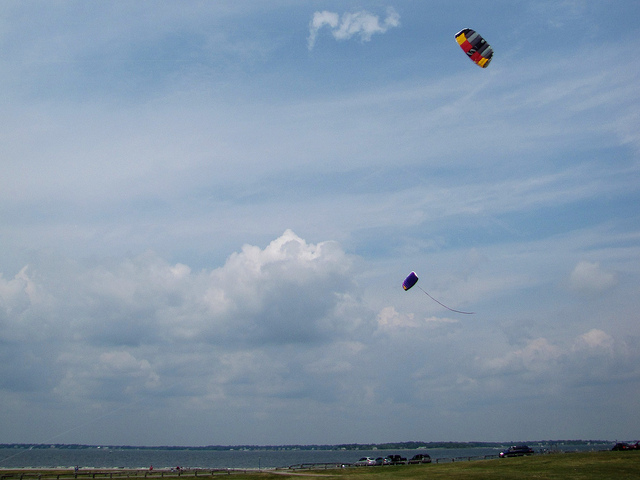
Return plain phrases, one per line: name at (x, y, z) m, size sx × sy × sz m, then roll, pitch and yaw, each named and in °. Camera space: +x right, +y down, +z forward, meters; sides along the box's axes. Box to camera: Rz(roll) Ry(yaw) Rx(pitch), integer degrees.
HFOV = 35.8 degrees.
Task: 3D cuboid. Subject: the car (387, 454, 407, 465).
car at (25.619, 71.596, 321.779) m, size 3.858 × 2.032 × 2.411 m, roll 8°, pitch -29°, yaw -5°
